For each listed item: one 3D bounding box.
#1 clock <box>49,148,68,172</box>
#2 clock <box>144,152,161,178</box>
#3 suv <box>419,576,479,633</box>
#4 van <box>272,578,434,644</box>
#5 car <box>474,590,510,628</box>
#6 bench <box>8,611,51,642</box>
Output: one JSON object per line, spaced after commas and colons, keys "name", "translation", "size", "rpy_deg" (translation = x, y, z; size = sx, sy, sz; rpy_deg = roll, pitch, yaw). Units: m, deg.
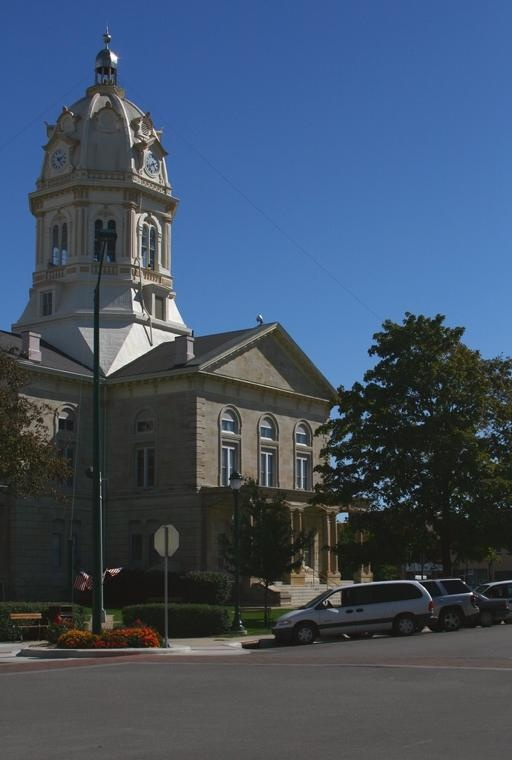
{"name": "clock", "translation": [-10.037, -11.259, 60.367], "size": [0.144, 1.319, 1.384], "rpy_deg": [11, -17, -44]}
{"name": "clock", "translation": [-5.418, -11.156, 61.478], "size": [0.144, 1.656, 1.685], "rpy_deg": [-9, -3, 23]}
{"name": "suv", "translation": [5.329, 6.153, 32.644], "size": [2.024, 1.004, 1.167], "rpy_deg": [5, -11, -13]}
{"name": "van", "translation": [2.427, 5.762, 29.606], "size": [3.270, 1.172, 1.736], "rpy_deg": [2, -14, -15]}
{"name": "car", "translation": [7.064, 6.855, 35.551], "size": [0.771, 1.011, 1.566], "rpy_deg": [-8, -15, 31]}
{"name": "bench", "translation": [-5.642, 6.077, 29.278], "size": [0.875, 0.554, 0.313], "rpy_deg": [13, -16, -42]}
